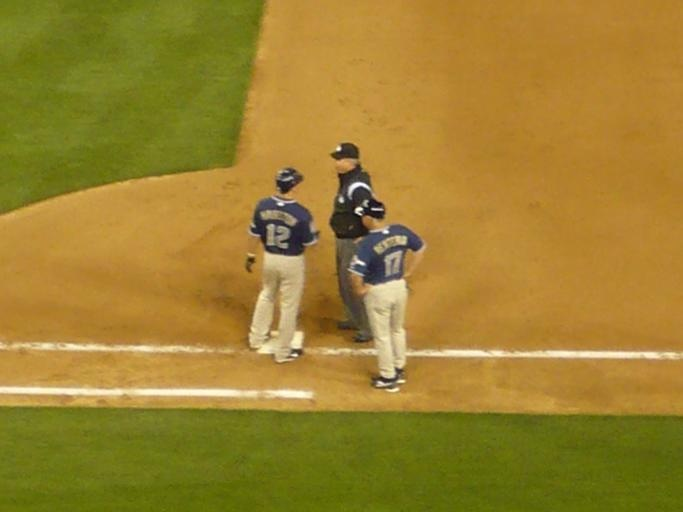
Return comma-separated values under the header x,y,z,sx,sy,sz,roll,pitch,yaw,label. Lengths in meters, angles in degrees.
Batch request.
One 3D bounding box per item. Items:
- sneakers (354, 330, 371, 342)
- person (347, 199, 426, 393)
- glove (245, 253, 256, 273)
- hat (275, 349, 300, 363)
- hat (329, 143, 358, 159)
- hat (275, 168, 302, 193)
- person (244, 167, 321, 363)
x,y,z,sx,sy,sz,roll,pitch,yaw,label
0.355,1.227,20.811,0.177,0.103,0.289,1,2,4,sneakers
0.635,0.569,19.715,1.002,2.688,1.093,2,34,2,person
-1.403,0.083,20.783,0.102,0.299,0.099,-34,72,-19,glove
-0.787,1.521,20.474,0.421,0.178,0.153,-9,17,-40,hat
0.066,-1.597,20.210,0.356,0.191,0.267,12,20,-2,hat
-0.819,-1.159,19.961,0.413,0.347,0.323,12,30,38,hat
-0.935,0.023,20.505,1.120,3.026,0.943,10,23,13,person
